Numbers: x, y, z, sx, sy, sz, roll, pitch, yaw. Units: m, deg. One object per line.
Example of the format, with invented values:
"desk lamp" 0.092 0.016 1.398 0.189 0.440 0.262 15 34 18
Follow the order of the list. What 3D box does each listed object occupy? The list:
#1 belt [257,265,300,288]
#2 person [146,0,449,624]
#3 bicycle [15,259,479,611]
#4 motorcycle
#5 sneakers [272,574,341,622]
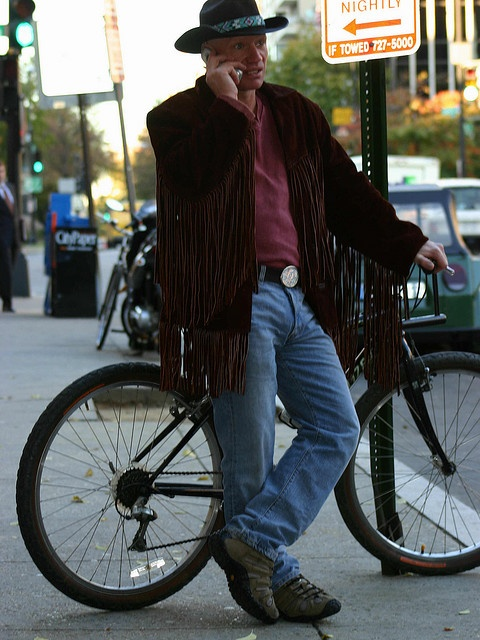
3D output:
"belt" 0.118 -0.120 2.704 0.142 0.067 0.045 -5 4 -44
"person" 0.097 -0.011 2.829 0.741 1.807 0.377 -3 3 -32
"bicycle" 0.181 0.389 3.667 1.985 1.404 1.061 0 4 -15
"motorcycle" -1.118 -0.414 8.799 0.636 1.015 1.433 -2 9 1
"sneakers" 0.188 0.831 2.873 0.227 0.120 0.088 -12 -4 42
